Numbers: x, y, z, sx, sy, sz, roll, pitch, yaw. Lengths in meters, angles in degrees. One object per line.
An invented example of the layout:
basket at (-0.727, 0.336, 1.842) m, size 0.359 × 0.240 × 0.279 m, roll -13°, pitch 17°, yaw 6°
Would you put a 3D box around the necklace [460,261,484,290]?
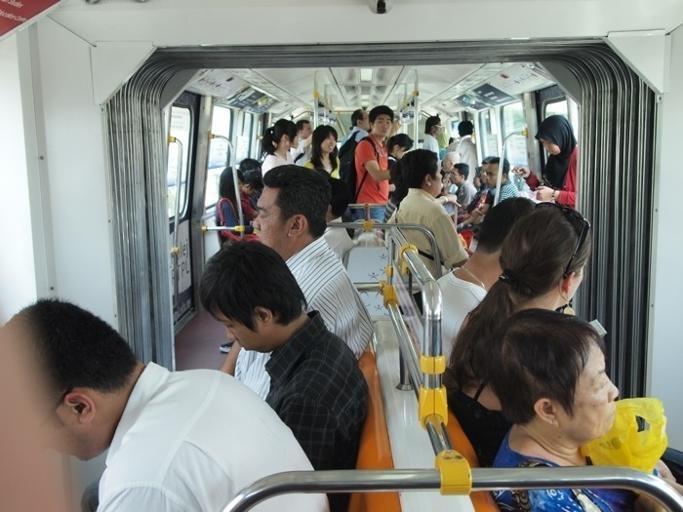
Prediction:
necklace at (0.685, 0.107, 2.646) m, size 0.027 × 0.113 × 0.113 m, roll -45°, pitch 10°, yaw -3°
